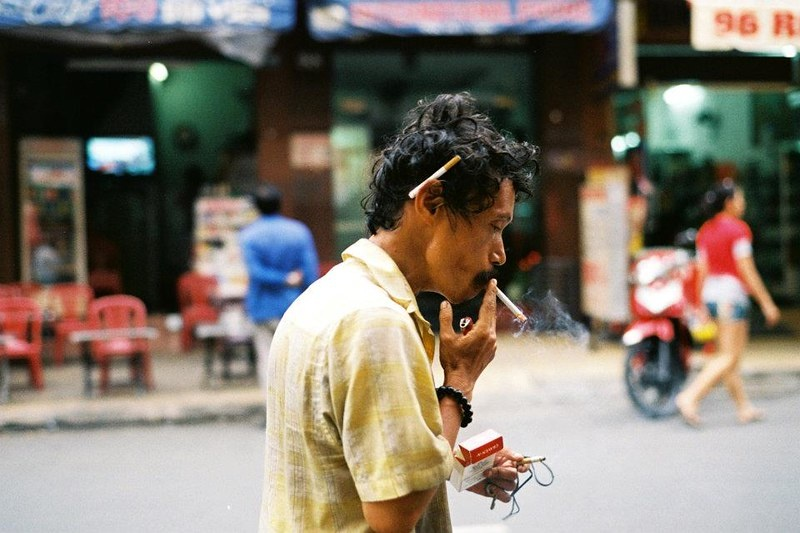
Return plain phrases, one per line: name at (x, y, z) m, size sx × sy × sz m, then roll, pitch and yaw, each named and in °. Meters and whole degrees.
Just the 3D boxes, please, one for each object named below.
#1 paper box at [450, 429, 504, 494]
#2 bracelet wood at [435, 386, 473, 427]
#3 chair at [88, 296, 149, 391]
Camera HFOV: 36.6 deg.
paper box at (0.607, 1.511, 9.597) m, size 0.372 × 0.433 × 0.171 m, roll -18°, pitch 46°, yaw -37°
bracelet wood at (0.442, 1.052, 9.316) m, size 0.245 × 0.319 × 0.094 m, roll -19°, pitch 16°, yaw 49°
chair at (-3.240, 0.890, 14.022) m, size 0.671 × 0.990 × 1.205 m, roll -4°, pitch 4°, yaw -15°
